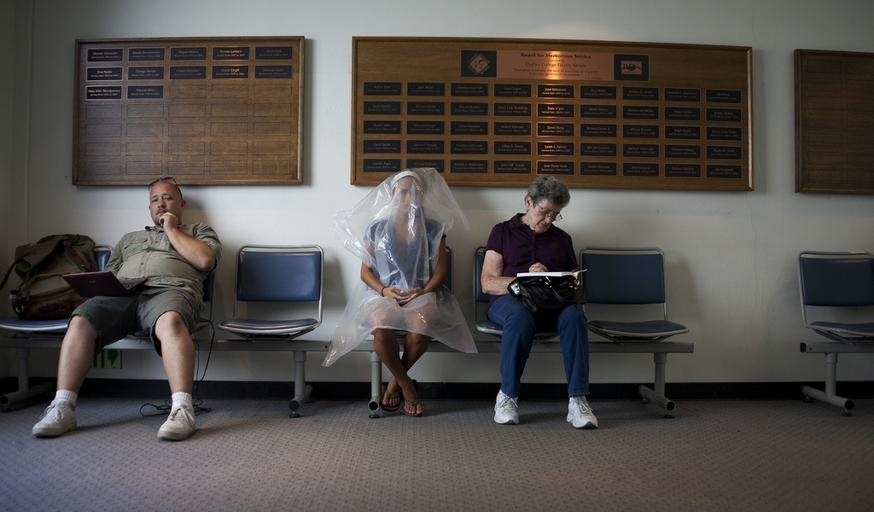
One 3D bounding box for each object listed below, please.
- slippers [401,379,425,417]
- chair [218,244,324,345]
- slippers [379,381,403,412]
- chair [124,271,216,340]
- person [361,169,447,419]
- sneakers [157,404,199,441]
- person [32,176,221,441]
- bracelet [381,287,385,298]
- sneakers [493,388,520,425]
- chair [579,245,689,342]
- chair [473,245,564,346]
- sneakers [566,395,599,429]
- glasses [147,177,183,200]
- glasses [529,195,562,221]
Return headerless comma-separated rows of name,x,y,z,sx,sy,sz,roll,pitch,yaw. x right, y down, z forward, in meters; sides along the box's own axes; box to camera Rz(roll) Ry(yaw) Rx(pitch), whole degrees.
slippers,-0.203,1.088,4.802,0.189,0.294,0.180,-1,8,-2
chair,-1.301,0.334,5.182,0.953,0.838,0.797,0,-9,-1
slippers,-0.357,1.110,4.802,0.234,0.143,0.576,1,-7,-6
chair,-2.094,0.369,4.827,0.420,0.325,0.607,-2,-1,1
person,-0.225,0.299,4.836,0.681,1.853,0.482,-3,8,-12
sneakers,-1.849,1.180,4.381,0.282,0.242,0.174,-6,9,-33
person,-2.280,0.326,4.743,1.051,1.866,1.162,-1,8,2
bracelet,-0.421,0.282,4.785,0.035,0.062,0.047,-2,8,-5
sneakers,0.541,1.148,4.664,0.212,0.248,0.150,-2,8,-4
chair,1.601,0.337,5.167,1.026,0.792,0.794,0,-4,-6
chair,0.823,0.329,5.027,0.867,0.839,0.787,2,-4,-26
sneakers,1.098,1.168,4.604,0.236,0.228,0.166,0,8,10
glasses,-2.254,-0.578,5.137,0.251,0.214,0.072,-1,10,-15
glasses,0.837,-0.373,4.888,0.198,0.121,0.231,17,11,-28
